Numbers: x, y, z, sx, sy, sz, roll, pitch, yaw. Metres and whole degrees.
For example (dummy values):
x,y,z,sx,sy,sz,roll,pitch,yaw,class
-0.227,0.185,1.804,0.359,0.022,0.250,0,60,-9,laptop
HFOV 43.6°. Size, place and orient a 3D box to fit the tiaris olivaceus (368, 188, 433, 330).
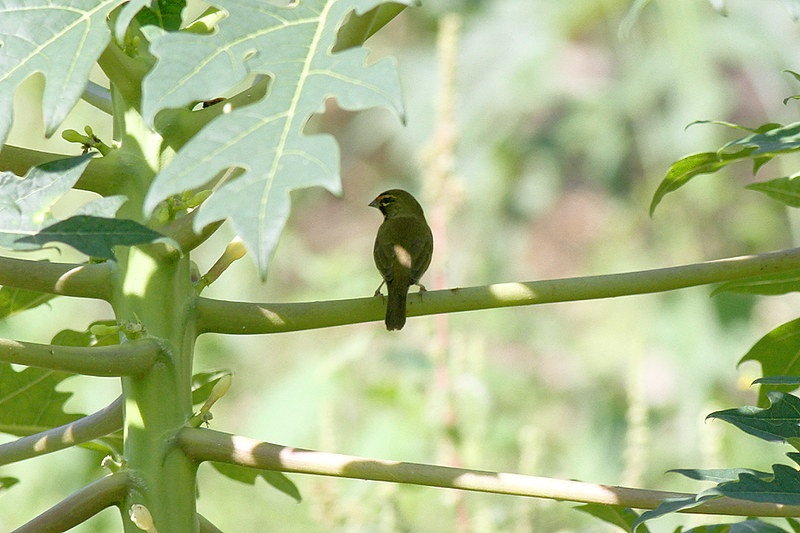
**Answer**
x,y,z,sx,sy,sz,roll,pitch,yaw,class
0.057,-0.120,4.442,0.254,0.294,0.708,0,30,3,tiaris olivaceus
